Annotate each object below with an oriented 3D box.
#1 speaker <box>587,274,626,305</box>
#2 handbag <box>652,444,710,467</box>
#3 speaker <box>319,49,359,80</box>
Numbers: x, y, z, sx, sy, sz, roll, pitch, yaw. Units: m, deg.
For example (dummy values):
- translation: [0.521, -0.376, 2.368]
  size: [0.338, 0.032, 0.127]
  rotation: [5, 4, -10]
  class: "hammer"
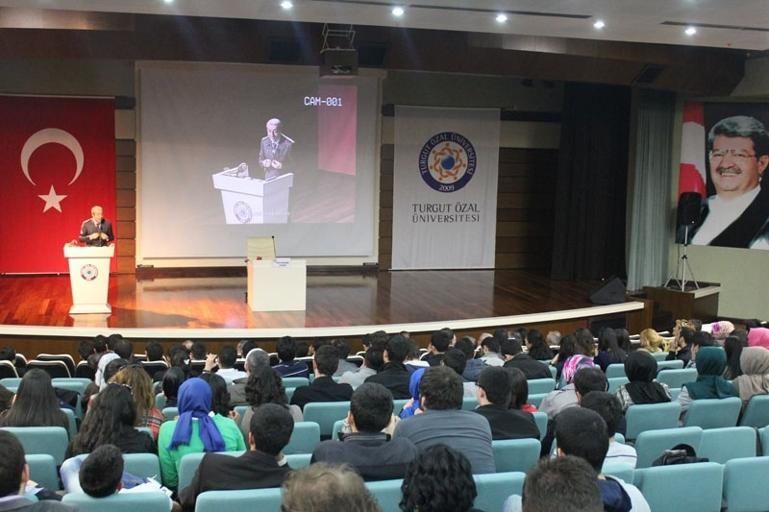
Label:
- translation: [3.916, 0.665, 10.979]
  size: [0.442, 0.435, 0.587]
  rotation: [6, -5, 3]
  class: "speaker"
- translation: [1.980, 1.319, 4.153]
  size: [0.205, 0.110, 0.293]
  rotation: [-1, -1, 7]
  class: "handbag"
- translation: [-0.662, -2.945, 9.626]
  size: [0.534, 0.274, 0.764]
  rotation: [-1, -1, -13]
  class: "speaker"
